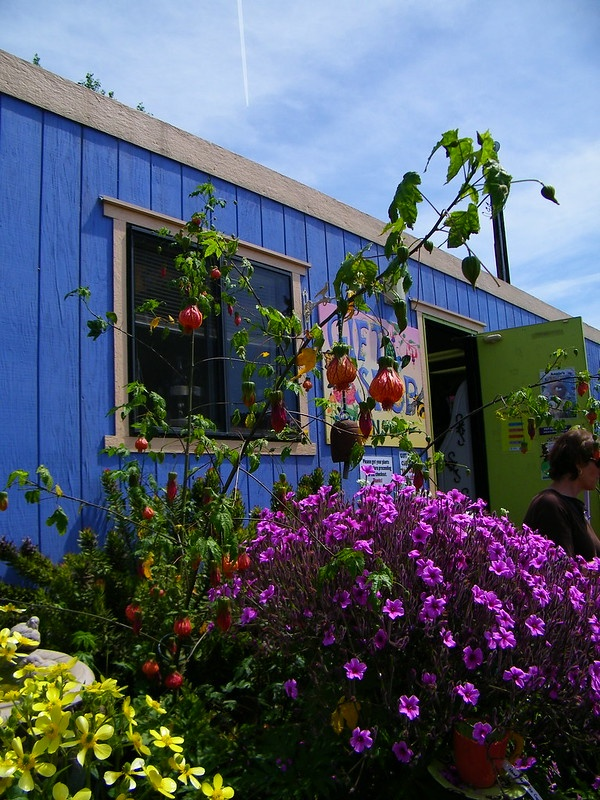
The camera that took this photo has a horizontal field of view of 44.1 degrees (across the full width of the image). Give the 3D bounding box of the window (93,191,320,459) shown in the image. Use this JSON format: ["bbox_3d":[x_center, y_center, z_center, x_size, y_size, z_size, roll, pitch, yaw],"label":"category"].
[{"bbox_3d":[-0.537,-0.447,5.258,1.826,1.533,0.113,7,-16,-44],"label":"window"}]
